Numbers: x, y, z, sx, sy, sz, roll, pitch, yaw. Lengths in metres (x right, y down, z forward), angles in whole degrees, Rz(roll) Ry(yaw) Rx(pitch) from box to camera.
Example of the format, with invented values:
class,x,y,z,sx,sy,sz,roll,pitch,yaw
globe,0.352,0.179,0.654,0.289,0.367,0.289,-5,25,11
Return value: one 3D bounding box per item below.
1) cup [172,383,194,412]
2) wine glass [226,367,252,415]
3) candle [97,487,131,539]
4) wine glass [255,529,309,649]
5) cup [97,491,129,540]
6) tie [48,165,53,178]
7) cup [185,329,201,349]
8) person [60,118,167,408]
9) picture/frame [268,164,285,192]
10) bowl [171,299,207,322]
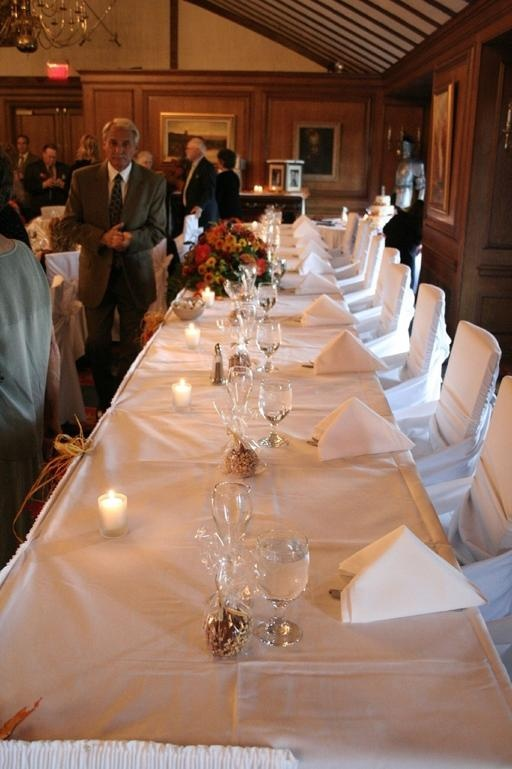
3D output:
class,x,y,z,sx,sy,sz,roll,pitch,yaw
cup,-0.242,0.048,1.811,0.059,0.097,0.060,1,28,-1
wine glass,-0.043,0.018,1.432,0.058,0.119,0.150,0,14,-2
candle,-0.272,0.257,1.117,0.069,0.088,0.076,5,19,10
wine glass,0.039,0.283,0.813,0.071,0.160,0.186,2,14,6
cup,-0.273,0.259,1.116,0.070,0.087,0.075,2,16,-1
tie,-3.756,-3.869,10.008,0.148,0.166,0.042,8,16,31
cup,-0.285,-0.220,2.582,0.057,0.085,0.137,4,14,17
person,-0.920,-0.783,3.728,0.672,1.849,0.422,-5,14,-20
picture/frame,0.400,-4.006,10.698,0.378,0.725,0.487,0,6,0
bowl,-0.387,-0.420,3.126,0.173,0.107,0.252,-2,14,-8
